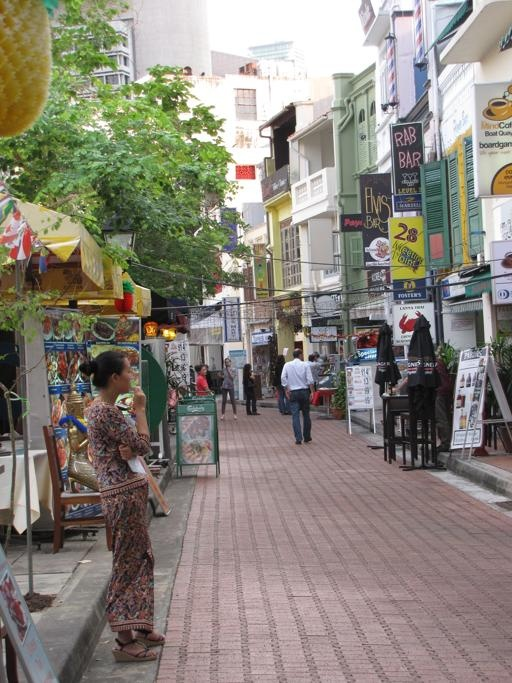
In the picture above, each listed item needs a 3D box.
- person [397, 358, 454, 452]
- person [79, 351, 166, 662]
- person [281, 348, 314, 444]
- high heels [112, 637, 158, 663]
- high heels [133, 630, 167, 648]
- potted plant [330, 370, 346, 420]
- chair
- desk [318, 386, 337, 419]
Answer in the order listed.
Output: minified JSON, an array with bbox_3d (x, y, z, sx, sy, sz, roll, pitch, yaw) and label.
[{"bbox_3d":[4.226,1.357,14.574,0.997,2.533,0.998,-17,14,-31],"label":"person"},{"bbox_3d":[-0.917,1.124,4.320,0.411,1.835,0.391,-4,-1,-13],"label":"person"},{"bbox_3d":[1.239,1.658,18.720,1.104,2.788,0.920,-2,-3,-18],"label":"person"},{"bbox_3d":[-0.817,2.086,4.236,0.264,0.111,0.137,-2,4,8],"label":"high heels"},{"bbox_3d":[-0.751,2.120,4.445,0.260,0.100,0.086,-1,2,3],"label":"high heels"},{"bbox_3d":[3.529,2.297,26.599,0.587,1.986,1.156,-5,-1,-11],"label":"potted plant"},{"bbox_3d":[-1.984,1.623,7.005,0.955,1.286,0.928,-11,-12,43],"label":"chair"},{"bbox_3d":[3.236,2.792,28.342,1.323,1.222,1.253,0,-6,-2],"label":"desk"}]
